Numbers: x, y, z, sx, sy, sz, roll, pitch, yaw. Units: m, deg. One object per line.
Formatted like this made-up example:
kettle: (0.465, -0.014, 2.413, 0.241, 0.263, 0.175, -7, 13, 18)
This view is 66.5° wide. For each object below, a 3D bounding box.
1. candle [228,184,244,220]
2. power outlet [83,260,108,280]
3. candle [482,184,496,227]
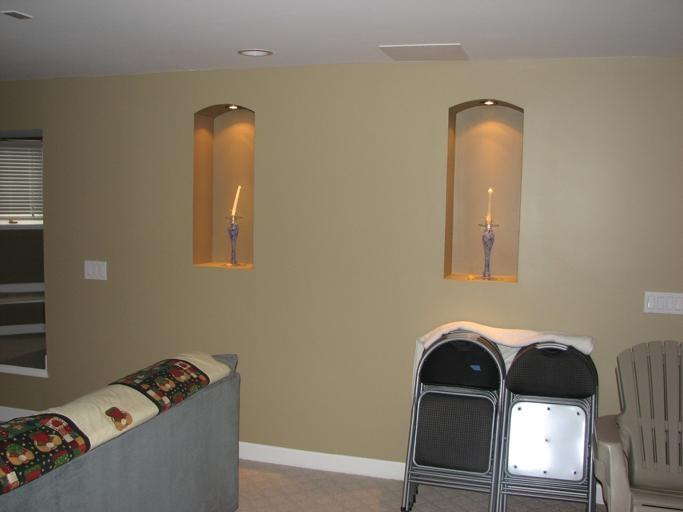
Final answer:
candle: (-0.883, -0.458, 4.364, 0.102, 0.298, 0.070, 12, -1, -4)
power outlet: (-2.098, 0.118, 4.449, 0.240, 0.186, 0.048, 2, -1, 26)
candle: (1.089, -0.367, 3.885, 0.078, 0.253, 0.180, 2, -1, 16)
